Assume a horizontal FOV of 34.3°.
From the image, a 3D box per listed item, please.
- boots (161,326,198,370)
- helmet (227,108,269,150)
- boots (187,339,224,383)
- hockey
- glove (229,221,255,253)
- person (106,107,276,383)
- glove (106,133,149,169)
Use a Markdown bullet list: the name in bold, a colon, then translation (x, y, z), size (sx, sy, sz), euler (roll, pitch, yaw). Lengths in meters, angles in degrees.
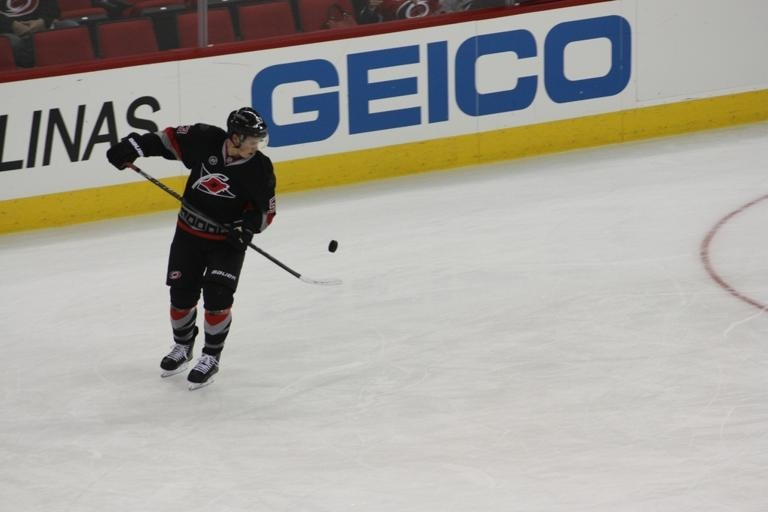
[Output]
- **boots**: translation (-1.442, 0.656, 8.748), size (0.150, 0.210, 0.389), euler (16, 16, 10)
- **helmet**: translation (-0.919, -0.884, 8.454), size (0.316, 0.239, 0.248), euler (14, 18, 13)
- **boots**: translation (-1.182, 0.725, 8.682), size (0.157, 0.171, 0.404), euler (29, 18, -2)
- **hockey**: translation (-1.212, -0.228, 9.526), size (1.935, 0.091, 0.301), euler (25, -28, -12)
- **glove**: translation (-0.946, -0.141, 8.542), size (0.164, 0.181, 0.075), euler (-6, 16, 30)
- **person**: translation (-1.205, -0.084, 8.621), size (1.033, 1.849, 0.638), euler (-13, 19, -15)
- **glove**: translation (-1.758, -0.730, 8.568), size (0.250, 0.235, 0.179), euler (-5, 18, 5)
